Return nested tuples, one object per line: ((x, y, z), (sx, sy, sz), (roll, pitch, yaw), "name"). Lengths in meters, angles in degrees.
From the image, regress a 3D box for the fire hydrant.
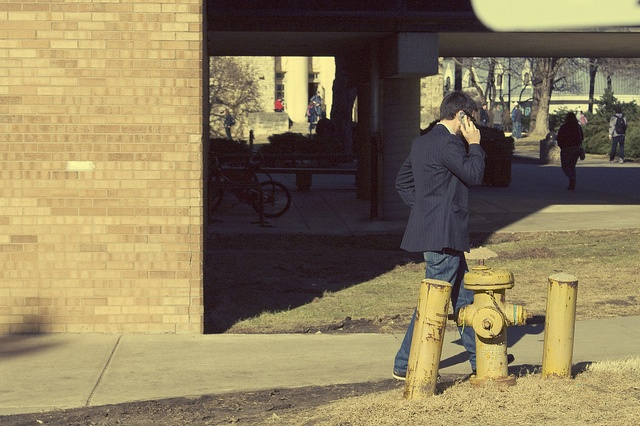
((1.979, 1.269, 14.176), (0.801, 1.352, 0.280), (-1, 7, 5), "fire hydrant")

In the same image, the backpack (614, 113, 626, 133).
((8.881, -2.593, 36.336), (0.317, 0.540, 0.511), (0, 6, 11), "backpack")

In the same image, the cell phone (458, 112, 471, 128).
((1.696, -1.099, 14.443), (0.127, 0.188, 0.055), (-26, -16, 37), "cell phone")

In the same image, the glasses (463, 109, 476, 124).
((1.769, -1.139, 14.540), (0.136, 0.081, 0.168), (8, -18, 12), "glasses")

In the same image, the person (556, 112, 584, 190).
((5.670, -1.422, 27.883), (0.550, 1.734, 1.444), (0, 6, 11), "person")

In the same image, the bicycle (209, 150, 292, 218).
((-1.438, -0.451, 23.446), (2.000, 1.047, 0.925), (4, 5, 10), "bicycle")

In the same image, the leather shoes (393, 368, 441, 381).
((1.145, 1.916, 14.576), (0.574, 0.205, 0.184), (0, 2, 22), "leather shoes")
